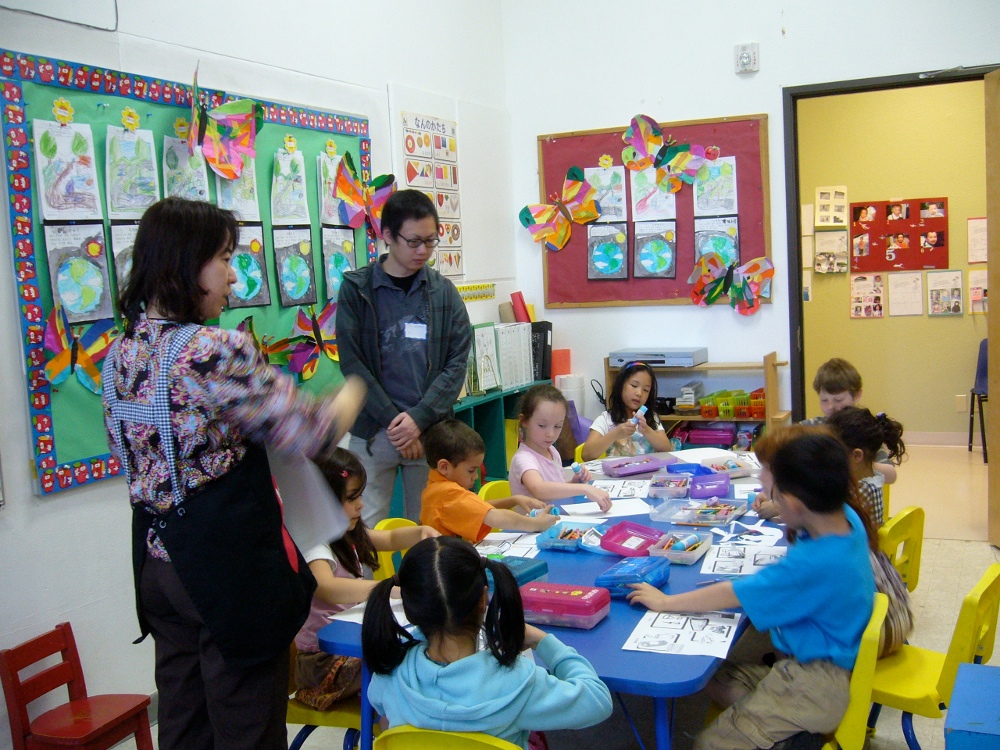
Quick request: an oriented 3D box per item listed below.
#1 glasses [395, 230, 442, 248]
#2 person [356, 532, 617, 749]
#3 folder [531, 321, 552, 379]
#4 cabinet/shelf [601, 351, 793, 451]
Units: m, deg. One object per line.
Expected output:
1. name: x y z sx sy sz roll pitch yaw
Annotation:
1. glasses: -0.314 -0.541 2.968 0.184 0.058 0.085 -11 12 -35
2. person: -0.061 0.623 1.810 0.516 0.474 0.843 2 -12 6
3. folder: 0.278 -0.160 5.098 0.187 0.404 0.081 -13 14 -42
4. cabinet/shelf: 1.241 0.153 4.509 0.574 0.602 0.191 2 8 20
